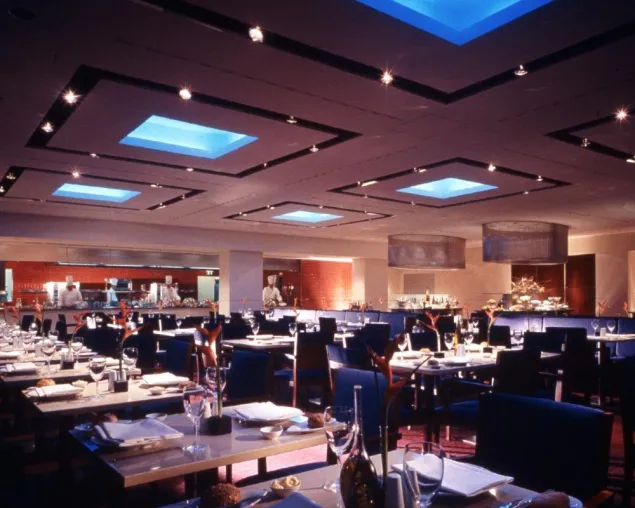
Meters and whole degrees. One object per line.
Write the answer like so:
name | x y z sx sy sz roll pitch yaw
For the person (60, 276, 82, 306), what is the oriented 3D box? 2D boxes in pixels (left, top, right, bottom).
person | -5.455 0.819 11.440 0.448 0.658 0.960 2 -5 -26
